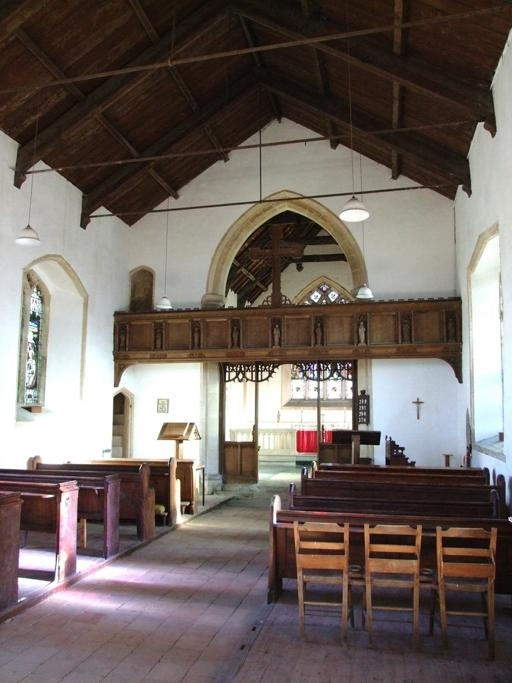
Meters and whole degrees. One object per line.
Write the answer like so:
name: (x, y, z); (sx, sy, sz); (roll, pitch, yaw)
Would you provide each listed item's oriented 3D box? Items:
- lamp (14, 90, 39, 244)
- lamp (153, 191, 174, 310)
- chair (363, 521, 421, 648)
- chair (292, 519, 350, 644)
lamp: (-3.112, -2.331, 8.791); (0.356, 1.807, 0.326); (7, 2, -15)
lamp: (-1.867, -1.507, 13.073); (0.393, 1.511, 0.384); (3, 12, -5)
chair: (1.062, 1.752, 4.872); (0.437, 0.855, 1.210); (-1, -6, 13)
chair: (0.505, 1.709, 4.641); (0.438, 0.777, 0.415); (-4, -9, 24)
